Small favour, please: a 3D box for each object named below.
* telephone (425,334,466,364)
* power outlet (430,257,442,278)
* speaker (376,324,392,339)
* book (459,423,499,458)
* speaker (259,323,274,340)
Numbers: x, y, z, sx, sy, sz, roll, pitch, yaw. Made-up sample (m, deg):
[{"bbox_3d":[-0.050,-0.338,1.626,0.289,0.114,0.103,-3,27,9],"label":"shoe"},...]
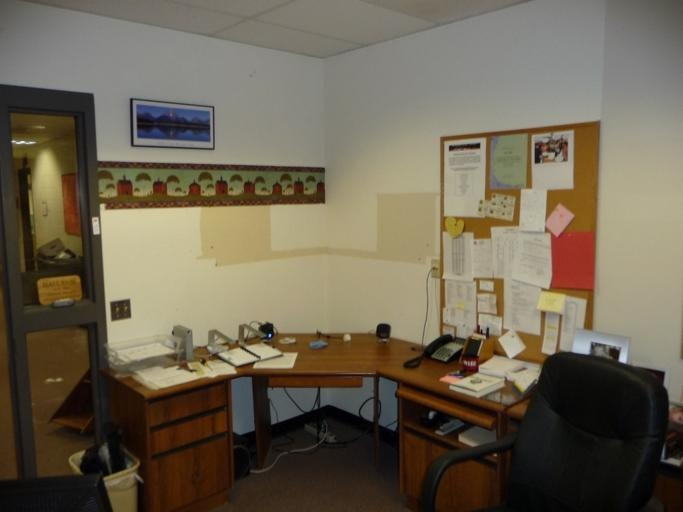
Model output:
[{"bbox_3d":[0.716,0.613,3.411,0.200,0.075,0.147,-20,19,-41],"label":"telephone"},{"bbox_3d":[0.668,0.082,3.644,0.027,0.113,0.116,4,1,-21],"label":"power outlet"},{"bbox_3d":[0.307,0.542,3.761,0.098,0.105,0.101,1,-2,4],"label":"speaker"},{"bbox_3d":[0.773,1.044,2.958,0.154,0.037,0.142,-4,6,-42],"label":"book"},{"bbox_3d":[-0.534,0.545,3.812,0.121,0.127,0.102,-2,-7,32],"label":"speaker"}]
